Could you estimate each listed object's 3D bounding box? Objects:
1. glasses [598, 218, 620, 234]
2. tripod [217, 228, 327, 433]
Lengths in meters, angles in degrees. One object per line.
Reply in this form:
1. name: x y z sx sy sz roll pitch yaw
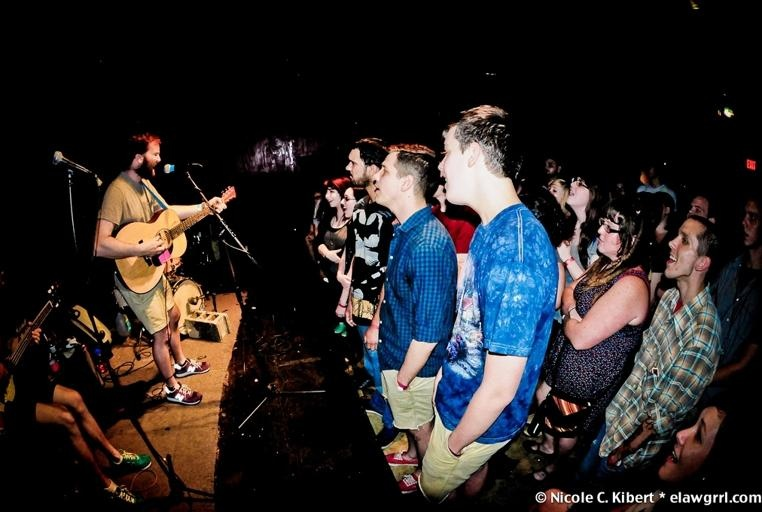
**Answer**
1. glasses: 2.173 -0.290 4.845 0.153 0.046 0.143 27 7 -10
2. tripod: -1.473 1.030 6.830 1.564 2.040 1.579 16 32 32
